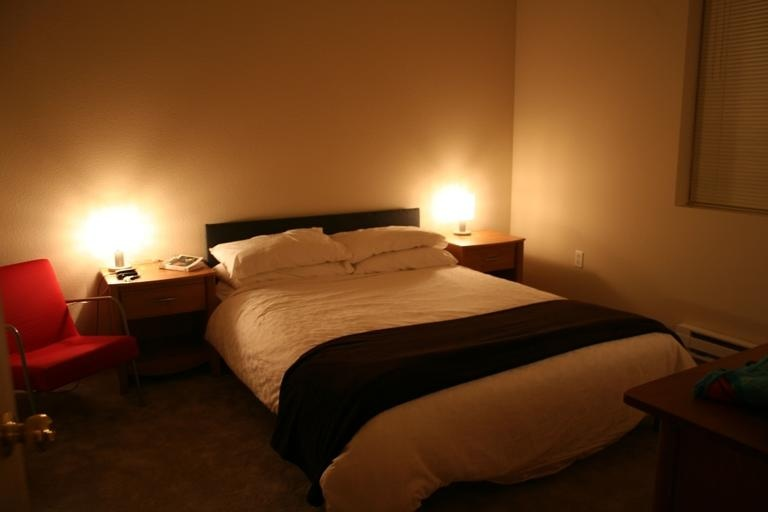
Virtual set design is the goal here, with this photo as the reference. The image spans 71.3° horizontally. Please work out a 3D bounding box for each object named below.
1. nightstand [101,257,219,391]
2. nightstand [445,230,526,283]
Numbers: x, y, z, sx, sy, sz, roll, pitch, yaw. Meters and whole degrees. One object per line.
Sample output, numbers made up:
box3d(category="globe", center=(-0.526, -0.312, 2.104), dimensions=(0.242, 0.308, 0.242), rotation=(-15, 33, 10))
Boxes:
box3d(category="nightstand", center=(-1.792, 0.440, 4.443), dimensions=(1.088, 1.026, 0.908), rotation=(-6, 15, -28))
box3d(category="nightstand", center=(0.962, -0.008, 5.247), dimensions=(0.572, 0.504, 0.573), rotation=(-8, 16, -28))
